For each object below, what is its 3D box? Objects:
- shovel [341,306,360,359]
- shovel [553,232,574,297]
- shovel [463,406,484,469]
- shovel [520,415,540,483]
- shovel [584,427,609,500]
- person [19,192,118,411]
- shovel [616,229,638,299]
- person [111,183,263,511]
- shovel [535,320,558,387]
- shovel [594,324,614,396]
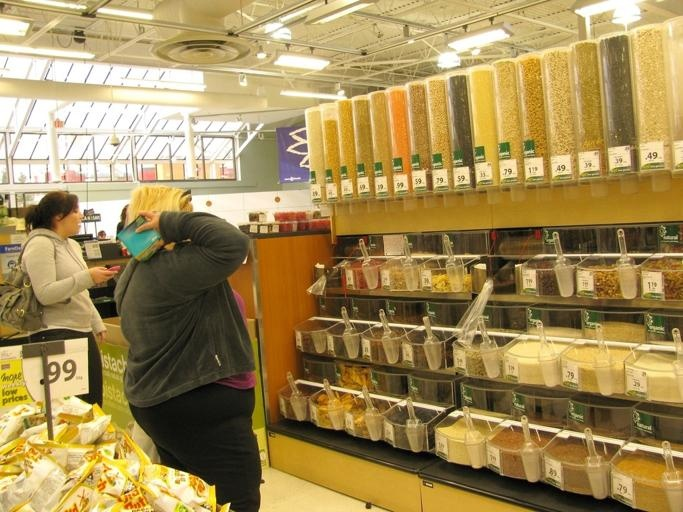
[{"bbox_3d":[0.065,0.503,3.474,0.118,0.329,0.085,-10,-7,20],"label":"shovel"},{"bbox_3d":[1.104,0.039,2.565,0.093,0.323,0.128,0,4,22],"label":"shovel"},{"bbox_3d":[0.732,0.980,2.857,0.108,0.355,0.208,-1,4,12],"label":"shovel"},{"bbox_3d":[0.971,0.972,2.661,0.097,0.356,0.190,-1,4,20],"label":"shovel"},{"bbox_3d":[1.218,0.973,2.468,0.099,0.354,0.204,0,4,25],"label":"shovel"},{"bbox_3d":[-1.696,0.309,3.263,0.511,1.488,0.719,-4,4,-30],"label":"person"},{"bbox_3d":[1.358,0.027,2.462,0.080,0.324,0.323,0,4,28],"label":"shovel"},{"bbox_3d":[-0.661,0.449,2.204,0.580,1.300,0.316,-2,4,-5],"label":"person"},{"bbox_3d":[1.022,0.473,2.554,0.096,0.315,0.202,0,4,21],"label":"shovel"},{"bbox_3d":[1.236,0.472,2.430,0.079,0.325,0.249,0,4,26],"label":"shovel"}]
